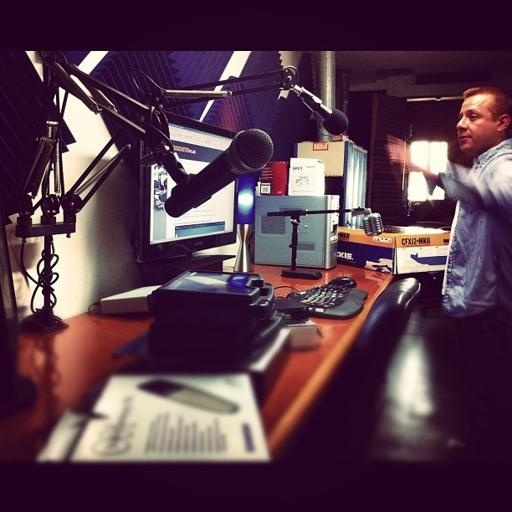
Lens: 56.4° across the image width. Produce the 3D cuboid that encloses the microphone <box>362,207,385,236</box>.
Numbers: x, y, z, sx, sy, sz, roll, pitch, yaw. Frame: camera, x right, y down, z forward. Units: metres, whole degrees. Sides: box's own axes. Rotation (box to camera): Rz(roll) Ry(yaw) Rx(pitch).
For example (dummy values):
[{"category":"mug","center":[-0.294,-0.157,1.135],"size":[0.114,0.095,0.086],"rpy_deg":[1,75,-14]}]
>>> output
[{"category":"microphone","center":[0.424,-0.115,1.737],"size":[0.068,0.108,0.199],"rpy_deg":[3,14,13]}]

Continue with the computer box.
[{"category":"computer box","center":[0.212,-0.124,2.095],"size":[0.288,0.284,0.330],"rpy_deg":[2,7,6]}]

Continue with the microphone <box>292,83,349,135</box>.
[{"category":"microphone","center":[0.179,-0.397,1.299],"size":[0.145,0.129,0.182],"rpy_deg":[5,14,20]}]

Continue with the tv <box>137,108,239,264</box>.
[{"category":"tv","center":[-0.193,-0.178,1.397],"size":[0.134,0.393,0.523],"rpy_deg":[-2,6,28]}]
